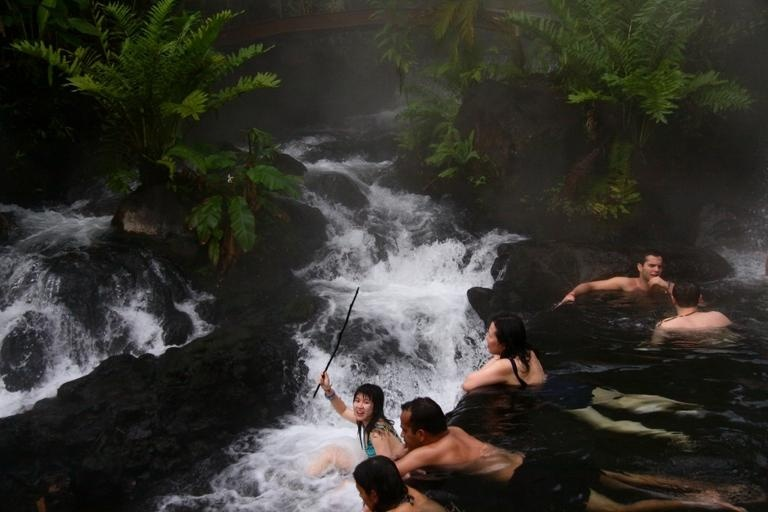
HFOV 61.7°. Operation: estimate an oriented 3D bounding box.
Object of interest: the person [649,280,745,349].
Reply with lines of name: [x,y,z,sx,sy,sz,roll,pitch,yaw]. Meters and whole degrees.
person: [4.282,0.861,9.074,1.456,0.935,0.755,-10,11,2]
